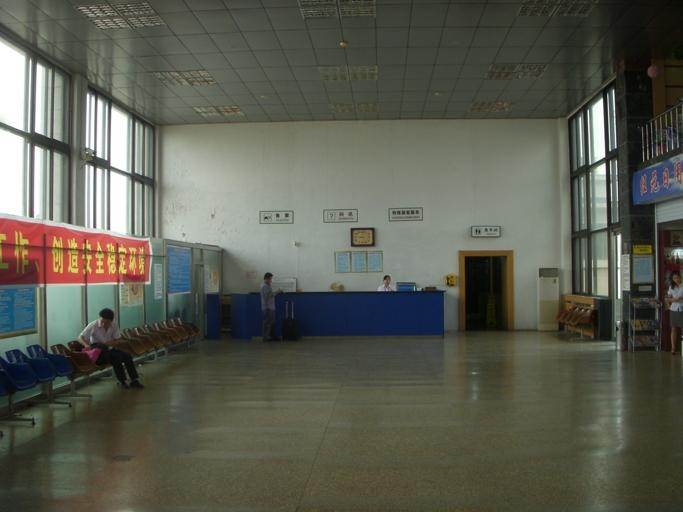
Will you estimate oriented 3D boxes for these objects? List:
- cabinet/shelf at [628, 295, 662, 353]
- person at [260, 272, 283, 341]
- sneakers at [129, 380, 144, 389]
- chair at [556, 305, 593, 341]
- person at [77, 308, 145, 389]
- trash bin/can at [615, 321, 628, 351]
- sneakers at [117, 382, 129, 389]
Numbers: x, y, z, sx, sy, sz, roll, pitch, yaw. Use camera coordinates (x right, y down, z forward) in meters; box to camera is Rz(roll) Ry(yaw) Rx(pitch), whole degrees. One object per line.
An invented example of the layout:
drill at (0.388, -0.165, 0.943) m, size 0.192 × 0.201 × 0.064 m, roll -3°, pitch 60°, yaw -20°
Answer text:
cabinet/shelf at (5.882, 1.311, 11.058) m, size 0.559 × 1.033 × 0.146 m, roll 0°, pitch 3°, yaw 2°
person at (-1.659, 1.146, 13.265) m, size 0.483 × 1.527 × 0.699 m, roll -1°, pitch 3°, yaw -9°
sneakers at (-3.094, 1.957, 8.636) m, size 0.236 × 0.106 × 0.083 m, roll 1°, pitch -1°, yaw 8°
chair at (5.518, 1.544, 13.188) m, size 0.257 × 0.734 × 0.528 m, roll 4°, pitch 2°, yaw -45°
person at (-3.471, 1.392, 8.646) m, size 0.829 × 1.229 × 0.541 m, roll -9°, pitch -1°, yaw 25°
trash bin/can at (5.510, 1.553, 11.278) m, size 0.166 × 0.577 × 0.265 m, roll -1°, pitch 3°, yaw -15°
sneakers at (-3.326, 1.948, 8.597) m, size 0.222 × 0.102 × 0.078 m, roll -2°, pitch -1°, yaw 32°
